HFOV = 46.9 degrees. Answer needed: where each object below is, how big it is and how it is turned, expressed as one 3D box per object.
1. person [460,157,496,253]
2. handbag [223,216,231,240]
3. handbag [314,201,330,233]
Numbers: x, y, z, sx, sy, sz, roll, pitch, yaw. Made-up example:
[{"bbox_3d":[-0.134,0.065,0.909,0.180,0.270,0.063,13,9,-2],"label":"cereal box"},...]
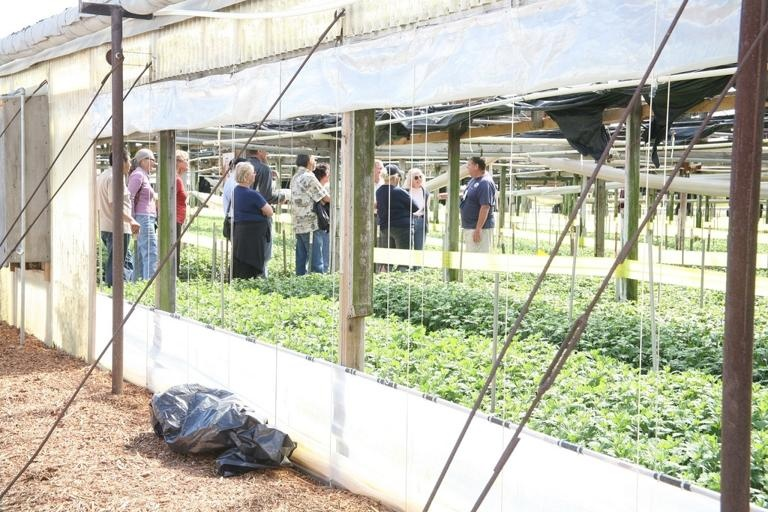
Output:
[{"bbox_3d":[1.423,-0.782,13.591,0.517,1.487,0.825,3,6,5],"label":"person"},{"bbox_3d":[-2.202,-0.411,12.397,0.085,0.324,0.431,2,6,-14],"label":"handbag"},{"bbox_3d":[-0.952,-0.595,13.268,0.148,0.494,0.347,-11,7,16],"label":"handbag"}]
